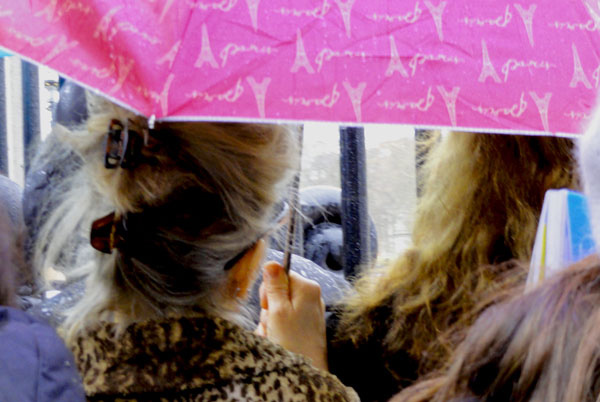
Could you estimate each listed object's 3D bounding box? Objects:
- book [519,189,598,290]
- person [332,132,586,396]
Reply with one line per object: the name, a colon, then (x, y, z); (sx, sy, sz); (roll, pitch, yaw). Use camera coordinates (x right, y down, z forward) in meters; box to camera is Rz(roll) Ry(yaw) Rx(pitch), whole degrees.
book: (1.141, 0.152, 6.083); (0.129, 0.382, 0.343); (7, 1, 33)
person: (0.637, 0.316, 6.609); (1.114, 1.130, 1.416); (-14, 5, -11)
